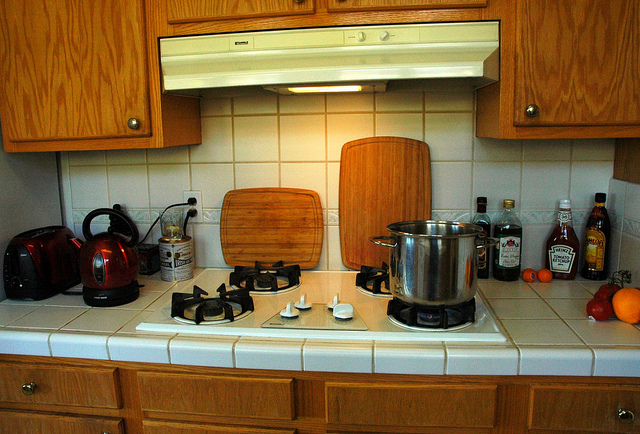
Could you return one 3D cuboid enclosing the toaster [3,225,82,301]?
[{"bbox_3d":[-1.079,0.172,2.245,0.307,0.281,0.332,1,14,3],"label":"toaster"}]

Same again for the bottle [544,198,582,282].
[{"bbox_3d":[0.981,0.095,2.181,0.123,0.329,0.114,-1,8,0],"label":"bottle"}]

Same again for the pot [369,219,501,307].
[{"bbox_3d":[0.404,0.171,1.957,0.477,0.228,0.318,0,3,3],"label":"pot"}]

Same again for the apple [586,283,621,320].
[{"bbox_3d":[1.011,0.318,1.916,0.083,0.070,0.113,-30,14,23],"label":"apple"}]

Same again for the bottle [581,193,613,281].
[{"bbox_3d":[1.123,0.081,2.168,0.112,0.351,0.071,3,9,25],"label":"bottle"}]

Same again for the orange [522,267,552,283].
[{"bbox_3d":[0.878,0.235,2.174,0.098,0.041,0.056,-1,9,5],"label":"orange"}]

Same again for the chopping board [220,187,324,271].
[{"bbox_3d":[-0.211,0.054,2.326,0.445,0.359,0.060,0,9,8],"label":"chopping board"}]

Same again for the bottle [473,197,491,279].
[{"bbox_3d":[0.666,0.090,2.196,0.081,0.346,0.131,-2,9,20],"label":"bottle"}]

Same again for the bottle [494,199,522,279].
[{"bbox_3d":[0.777,0.095,2.208,0.125,0.310,0.109,0,9,5],"label":"bottle"}]
